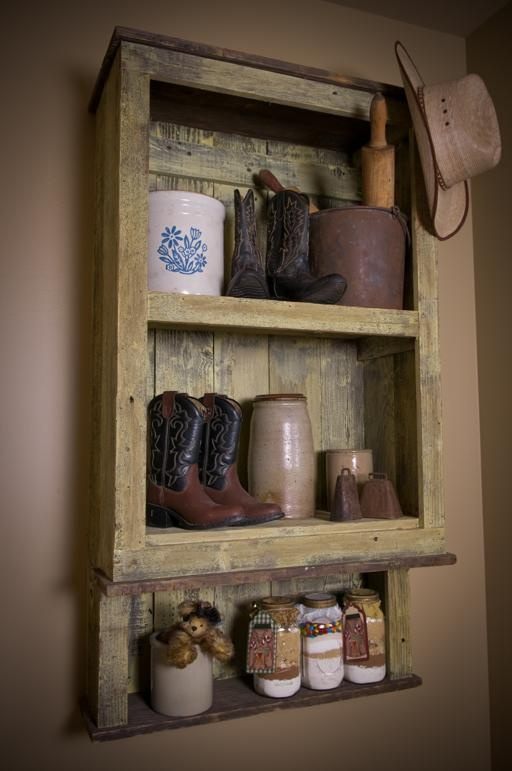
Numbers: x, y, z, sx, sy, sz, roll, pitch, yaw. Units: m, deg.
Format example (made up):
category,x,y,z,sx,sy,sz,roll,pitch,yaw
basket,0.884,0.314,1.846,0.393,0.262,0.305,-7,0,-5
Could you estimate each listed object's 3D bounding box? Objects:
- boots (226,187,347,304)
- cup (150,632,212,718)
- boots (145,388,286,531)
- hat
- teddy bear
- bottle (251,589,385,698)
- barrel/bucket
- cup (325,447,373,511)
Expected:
category,x,y,z,sx,sy,sz,roll,pitch,yaw
boots,0.048,-0.233,1.456,0.256,0.241,0.218,4,-6,-32
cup,-0.134,0.536,1.365,0.119,0.123,0.116,0,-1,0
boots,-0.102,0.134,1.375,0.197,0.242,0.259,0,0,-34
hat,0.338,-0.429,1.447,0.140,0.386,0.263,-9,7,25
teddy bear,-0.118,0.445,1.309,0.149,0.104,0.109,0,0,10
bottle,0.120,0.510,1.428,0.217,0.135,0.073,3,-7,-25
barrel/bucket,0.204,-0.253,1.506,0.196,0.186,0.199,1,-1,0
cup,0.186,0.194,1.511,0.118,0.172,0.105,3,-12,-6
